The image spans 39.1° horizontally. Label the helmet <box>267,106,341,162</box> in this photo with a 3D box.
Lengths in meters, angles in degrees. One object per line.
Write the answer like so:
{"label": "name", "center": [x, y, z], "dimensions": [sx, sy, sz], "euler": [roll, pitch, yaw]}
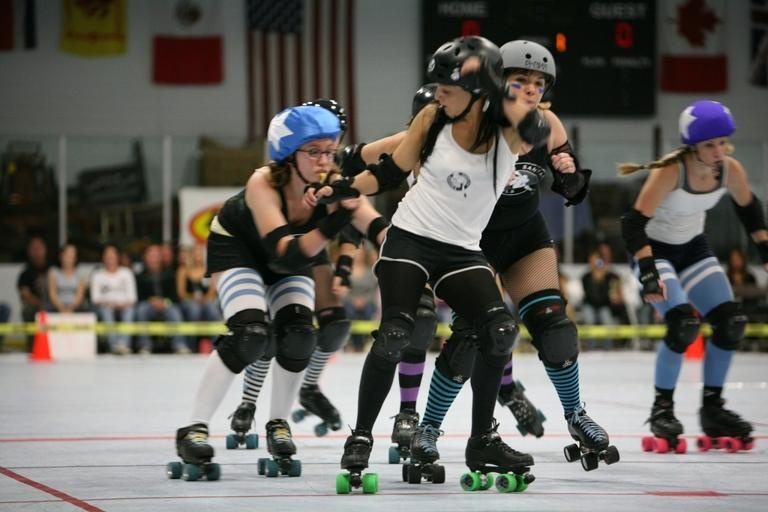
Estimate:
{"label": "helmet", "center": [-0.464, -0.760, 6.637], "dimensions": [0.402, 0.317, 0.297], "euler": [14, 12, 15]}

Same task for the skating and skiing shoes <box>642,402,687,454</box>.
{"label": "skating and skiing shoes", "center": [1.891, 1.154, 7.305], "dimensions": [0.296, 0.285, 0.318], "euler": [3, 11, 15]}

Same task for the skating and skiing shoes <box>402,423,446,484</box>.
{"label": "skating and skiing shoes", "center": [0.214, 1.176, 6.335], "dimensions": [0.151, 0.250, 0.428], "euler": [1, -10, -4]}

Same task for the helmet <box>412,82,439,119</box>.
{"label": "helmet", "center": [0.255, -1.006, 6.941], "dimensions": [0.190, 0.260, 0.250], "euler": [6, 10, 10]}

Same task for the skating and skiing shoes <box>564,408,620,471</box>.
{"label": "skating and skiing shoes", "center": [1.263, 1.126, 6.664], "dimensions": [0.266, 0.296, 0.491], "euler": [-13, 4, -7]}

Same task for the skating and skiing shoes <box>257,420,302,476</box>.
{"label": "skating and skiing shoes", "center": [-0.636, 1.172, 6.599], "dimensions": [0.264, 0.264, 0.340], "euler": [-1, 10, -7]}

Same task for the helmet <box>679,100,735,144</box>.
{"label": "helmet", "center": [2.182, -0.927, 7.331], "dimensions": [0.311, 0.250, 0.315], "euler": [6, 12, 31]}

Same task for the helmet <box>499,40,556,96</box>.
{"label": "helmet", "center": [0.927, -1.207, 6.980], "dimensions": [0.341, 0.372, 0.404], "euler": [7, 7, -16]}

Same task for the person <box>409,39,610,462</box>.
{"label": "person", "center": [0.635, 0.027, 6.649], "dimensions": [1.361, 2.726, 1.153], "euler": [-8, 20, 16]}

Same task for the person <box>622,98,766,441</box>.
{"label": "person", "center": [2.116, 0.078, 7.449], "dimensions": [0.888, 2.252, 1.027], "euler": [6, 12, 30]}

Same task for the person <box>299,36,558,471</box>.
{"label": "person", "center": [0.343, -0.024, 6.226], "dimensions": [1.159, 2.427, 0.569], "euler": [0, 10, -3]}
